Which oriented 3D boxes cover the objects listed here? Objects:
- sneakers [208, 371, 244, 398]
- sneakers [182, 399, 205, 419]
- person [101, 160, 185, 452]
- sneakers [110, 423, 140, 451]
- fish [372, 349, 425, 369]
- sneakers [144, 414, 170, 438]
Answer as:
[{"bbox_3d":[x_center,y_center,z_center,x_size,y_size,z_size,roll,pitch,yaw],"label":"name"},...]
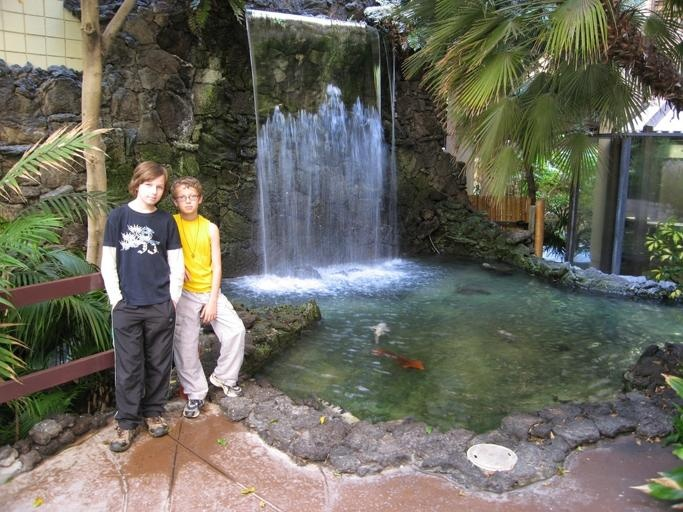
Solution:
[{"bbox_3d":[-1.111,1.225,4.492,0.325,0.147,0.161,29,16,5],"label":"sneakers"},{"bbox_3d":[-1.321,1.360,4.144,0.096,0.089,0.210,5,20,-7],"label":"sneakers"},{"bbox_3d":[-1.579,0.391,3.763,0.606,2.233,0.479,-3,13,-25],"label":"person"},{"bbox_3d":[-1.759,1.438,3.778,0.113,0.126,0.274,9,12,-12],"label":"sneakers"},{"bbox_3d":[0.761,1.274,5.974,0.208,0.085,0.593,-3,5,-28],"label":"fish"},{"bbox_3d":[-1.514,1.407,3.858,0.110,0.102,0.237,-5,10,-38],"label":"sneakers"}]
